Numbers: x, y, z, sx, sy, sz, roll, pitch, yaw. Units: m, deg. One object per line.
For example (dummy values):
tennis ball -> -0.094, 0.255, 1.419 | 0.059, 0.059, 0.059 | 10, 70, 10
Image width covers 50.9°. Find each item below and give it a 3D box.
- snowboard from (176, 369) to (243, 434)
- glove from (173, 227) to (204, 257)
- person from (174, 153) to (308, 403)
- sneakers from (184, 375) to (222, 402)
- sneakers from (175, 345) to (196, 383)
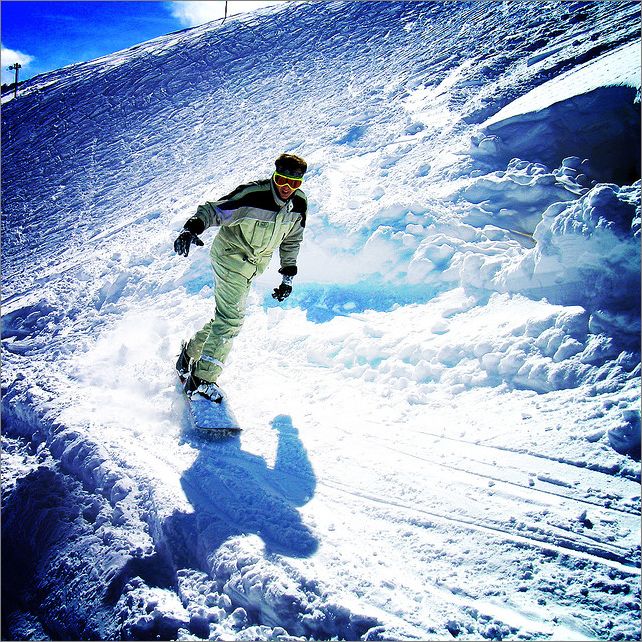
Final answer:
snowboard -> -0.935, 0.763, 5.973 | 0.372, 0.085, 0.890 | -3, 28, -29
glove -> -1.147, -0.665, 5.785 | 0.231, 0.230, 0.319 | -12, 17, -10
person -> -0.692, -0.480, 6.151 | 1.361, 1.975, 0.621 | -12, 20, -8
sneakers -> -1.099, 0.634, 6.257 | 0.368, 0.110, 0.222 | 22, 21, 22
sneakers -> -1.364, 0.442, 6.671 | 0.179, 0.423, 0.212 | -5, -22, -16
